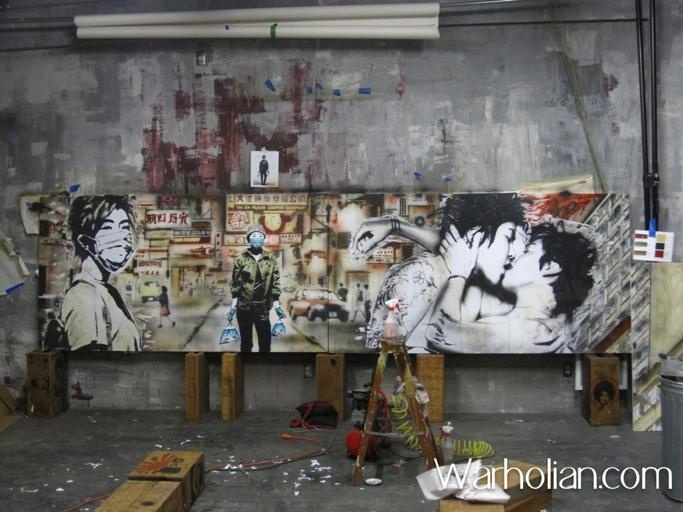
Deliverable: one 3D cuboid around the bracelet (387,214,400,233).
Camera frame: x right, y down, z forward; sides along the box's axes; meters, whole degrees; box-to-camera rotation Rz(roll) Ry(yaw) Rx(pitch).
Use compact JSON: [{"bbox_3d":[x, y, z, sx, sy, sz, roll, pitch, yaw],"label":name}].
[{"bbox_3d":[0.617,-0.372,11.466,0.142,0.186,0.193,2,-9,-3],"label":"bracelet"}]
